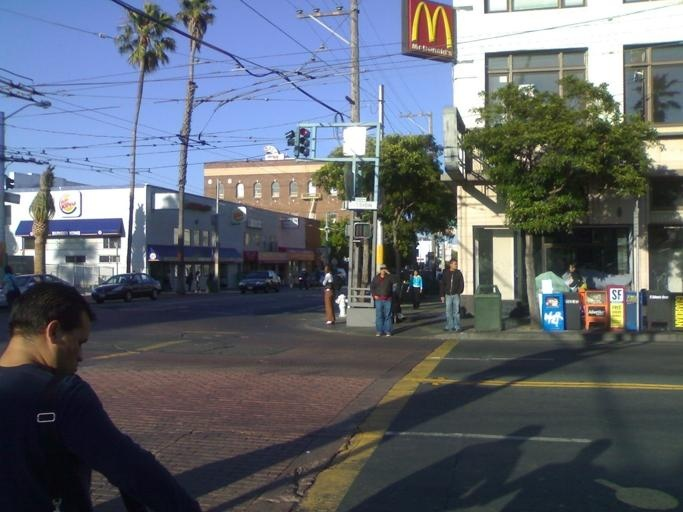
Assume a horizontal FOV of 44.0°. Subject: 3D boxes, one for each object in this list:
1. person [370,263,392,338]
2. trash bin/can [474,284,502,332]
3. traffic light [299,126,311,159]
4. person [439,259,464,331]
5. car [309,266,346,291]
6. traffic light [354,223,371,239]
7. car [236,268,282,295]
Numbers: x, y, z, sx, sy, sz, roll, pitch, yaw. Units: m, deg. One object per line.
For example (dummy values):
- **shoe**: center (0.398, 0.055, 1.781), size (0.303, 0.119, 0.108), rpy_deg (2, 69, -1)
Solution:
- **person**: center (1.038, 1.166, 21.791), size (0.547, 1.667, 0.962), rpy_deg (-1, 5, 2)
- **trash bin/can**: center (3.740, 1.324, 21.660), size (0.697, 1.192, 0.784), rpy_deg (0, 5, 9)
- **traffic light**: center (-1.026, -3.085, 23.156), size (0.354, 0.807, 0.266), rpy_deg (-1, 5, -6)
- **person**: center (2.840, 1.021, 21.846), size (0.527, 1.862, 1.082), rpy_deg (0, 5, 6)
- **car**: center (-0.825, 1.780, 59.933), size (2.889, 1.617, 1.752), rpy_deg (3, 0, 0)
- **traffic light**: center (0.554, -0.672, 23.079), size (0.483, 0.466, 0.523), rpy_deg (-1, 5, -2)
- **car**: center (-4.678, 1.524, 48.386), size (1.726, 1.224, 2.719), rpy_deg (0, 5, 12)
